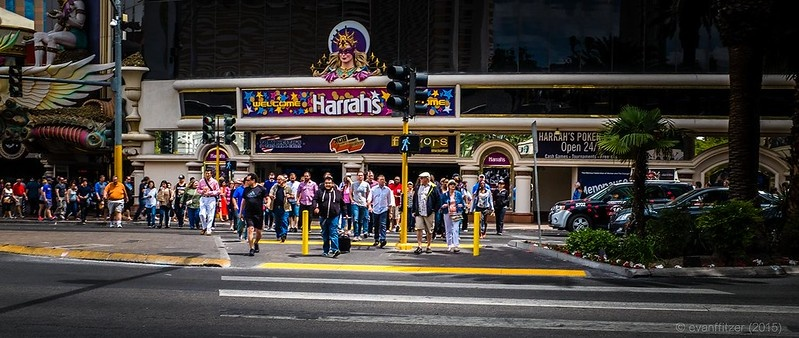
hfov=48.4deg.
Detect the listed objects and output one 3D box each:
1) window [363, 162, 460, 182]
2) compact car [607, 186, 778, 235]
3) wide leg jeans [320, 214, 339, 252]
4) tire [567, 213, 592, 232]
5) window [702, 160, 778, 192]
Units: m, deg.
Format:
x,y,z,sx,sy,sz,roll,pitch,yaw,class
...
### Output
x,y,z,sx,sy,sz,roll,pitch,yaw,class
1.271,0.184,72.692,11.099,1.340,1.899,0,21,5,window
19.225,2.445,59.419,9.997,2.563,3.897,0,-4,8,compact car
-4.479,4.229,56.358,1.099,2.401,0.490,1,-1,-4,wide leg jeans
12.442,3.791,62.078,1.845,1.348,0.586,0,-2,9,tire
23.866,0.513,62.562,3.256,2.169,0.262,1,-19,12,window
